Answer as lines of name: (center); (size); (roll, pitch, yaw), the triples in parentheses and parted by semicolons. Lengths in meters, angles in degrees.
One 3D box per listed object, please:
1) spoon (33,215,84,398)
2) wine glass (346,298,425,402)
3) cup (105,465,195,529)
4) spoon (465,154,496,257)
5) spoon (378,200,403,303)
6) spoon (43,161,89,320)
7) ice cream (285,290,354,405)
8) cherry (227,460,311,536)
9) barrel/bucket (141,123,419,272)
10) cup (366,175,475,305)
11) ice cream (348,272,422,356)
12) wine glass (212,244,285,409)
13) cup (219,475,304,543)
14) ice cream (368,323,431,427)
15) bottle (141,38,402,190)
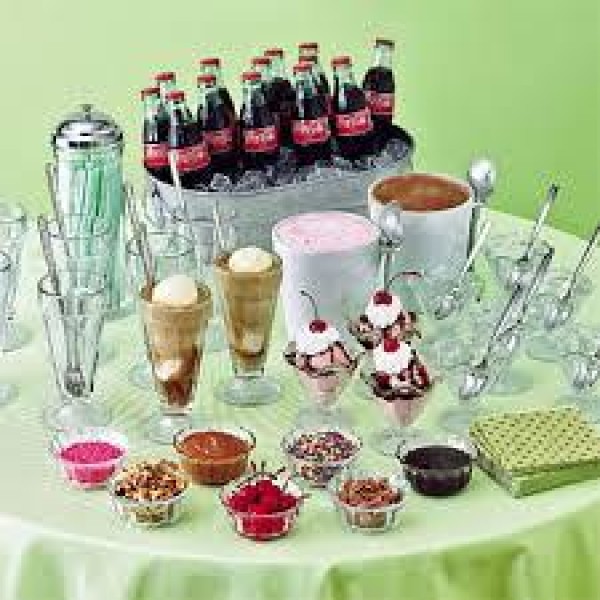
spoon: (-0.412, 0.023, 1.166); (0.069, 0.342, 0.051); (-8, 19, 6)
wine glass: (0.160, 0.077, 1.315); (0.139, 0.192, 0.118); (12, 36, 19)
cup: (-0.214, 0.276, 0.953); (0.109, 0.063, 0.098); (-9, 30, -16)
spoon: (0.464, -0.247, 1.743); (0.079, 0.256, 0.077); (28, 42, 37)
spoon: (0.175, -0.126, 1.446); (0.049, 0.184, 0.061); (-10, 35, -18)
spoon: (-0.465, -0.122, 1.330); (0.043, 0.388, 0.031); (-22, 27, -35)
ice cream: (0.043, 0.084, 1.166); (0.100, 0.162, 0.103); (27, 42, 32)
cherry: (-0.044, 0.271, 0.942); (0.108, 0.073, 0.110); (9, 22, 16)
barrel/bucket: (-0.070, -0.313, 1.714); (0.599, 0.319, 0.410); (-18, 30, -30)
cup: (0.273, -0.111, 1.628); (0.231, 0.323, 0.229); (-1, 32, 1)
ice cream: (0.166, 0.029, 1.256); (0.169, 0.157, 0.124); (-11, 26, -8)
wine glass: (-0.108, 0.057, 1.257); (0.141, 0.303, 0.117); (-3, 29, -12)
cup: (-0.051, 0.279, 0.934); (0.094, 0.056, 0.087); (1, 20, -1)
ice cream: (0.161, 0.123, 1.098); (0.114, 0.133, 0.097); (3, 30, 7)
bottle: (-0.061, -0.462, 1.798); (0.628, 0.444, 0.324); (-19, 40, -21)
